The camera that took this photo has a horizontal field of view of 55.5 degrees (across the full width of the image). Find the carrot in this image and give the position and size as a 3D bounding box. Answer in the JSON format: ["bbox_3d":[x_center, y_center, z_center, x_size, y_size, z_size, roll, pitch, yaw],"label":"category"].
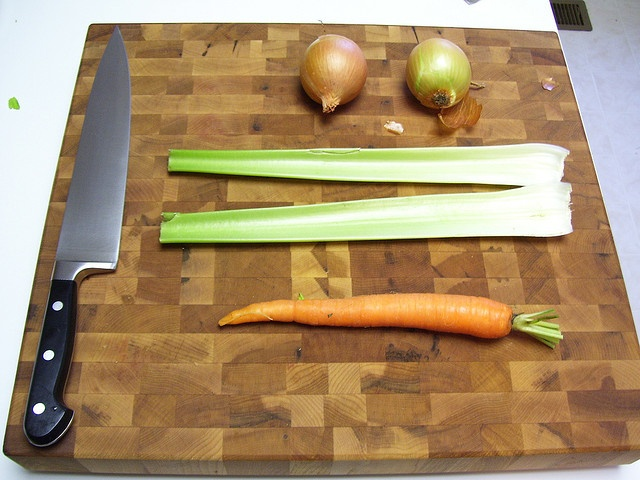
[{"bbox_3d":[0.345,0.333,2.735,1.523,0.152,0.184,5,63,-1],"label":"carrot"}]

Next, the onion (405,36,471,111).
[{"bbox_3d":[0.556,-0.759,3.046,0.319,0.315,0.398,3,86,-13],"label":"onion"}]
